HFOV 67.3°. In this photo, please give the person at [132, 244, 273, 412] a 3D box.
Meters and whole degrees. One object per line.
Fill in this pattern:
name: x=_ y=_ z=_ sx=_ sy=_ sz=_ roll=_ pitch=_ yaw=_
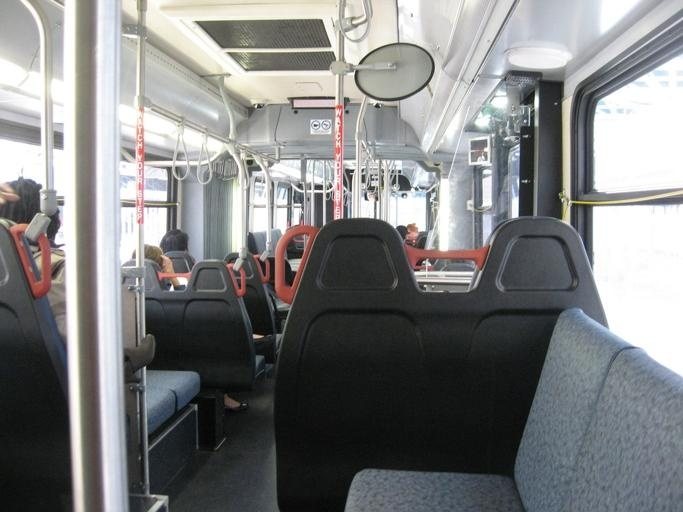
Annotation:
person: x=-0.921 y=0.431 z=3.363 sx=0.851 sy=0.910 sz=0.714 roll=1 pitch=6 yaw=14
